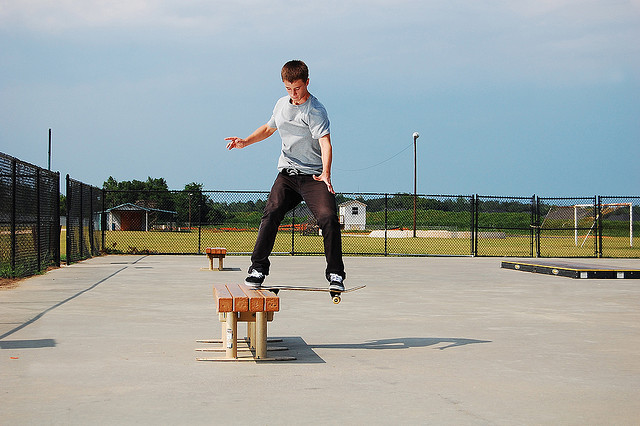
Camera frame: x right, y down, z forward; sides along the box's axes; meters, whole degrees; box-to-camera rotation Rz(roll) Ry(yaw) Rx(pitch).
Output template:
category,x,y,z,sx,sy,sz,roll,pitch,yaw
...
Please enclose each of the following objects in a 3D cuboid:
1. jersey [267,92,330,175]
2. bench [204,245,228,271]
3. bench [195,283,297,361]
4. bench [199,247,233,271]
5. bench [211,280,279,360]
category,x,y,z,sx,sy,sz,roll,pitch,yaw
jersey,-0.239,-0.940,8.471,0.697,0.947,0.315,0,0,8
bench,-2.556,1.105,17.046,0.556,0.481,0.438,-1,-5,-9
bench,-0.870,1.209,8.009,0.852,0.437,1.125,1,-2,-7
bench,-2.601,1.122,17.030,0.643,0.417,0.668,-1,-1,-5
bench,-0.871,1.243,8.124,0.705,0.793,0.790,0,0,-8
